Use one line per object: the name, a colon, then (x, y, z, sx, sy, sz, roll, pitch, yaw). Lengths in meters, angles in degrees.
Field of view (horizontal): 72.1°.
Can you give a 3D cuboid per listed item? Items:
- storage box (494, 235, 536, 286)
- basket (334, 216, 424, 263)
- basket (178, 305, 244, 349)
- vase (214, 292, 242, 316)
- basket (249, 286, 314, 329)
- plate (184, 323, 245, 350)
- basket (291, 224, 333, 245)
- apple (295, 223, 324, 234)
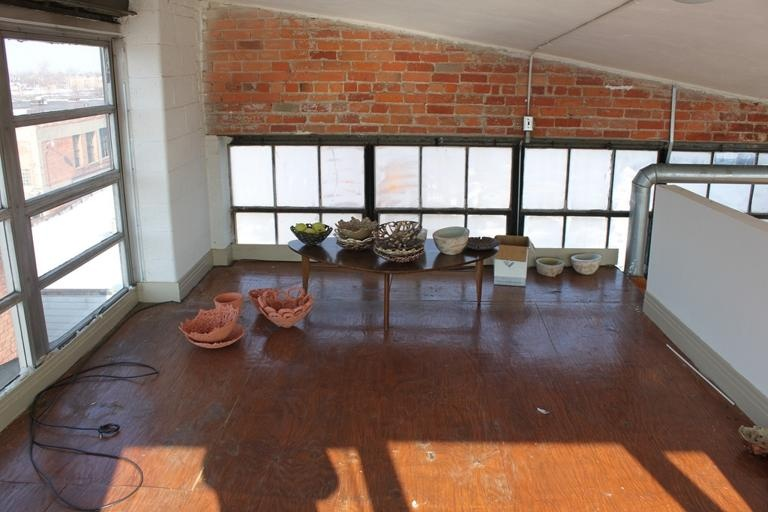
storage box: (1.453, 0.060, 6.004, 0.381, 0.546, 0.293, 4, 20, 10)
basket: (-0.009, -0.165, 5.132, 0.671, 0.211, 0.530, 20, 23, 38)
basket: (-1.580, 0.652, 4.858, 0.523, 0.187, 0.425, 7, 32, 18)
vase: (-1.558, 0.475, 5.369, 0.289, 0.165, 0.258, 0, 3, -26)
basket: (-1.035, 0.481, 5.130, 0.570, 0.220, 0.429, 5, 11, 21)
plate: (-1.539, 0.741, 4.887, 0.515, 0.170, 0.310, -4, 17, -16)
basket: (-0.731, -0.229, 5.457, 0.318, 0.132, 0.282, 1, 5, -1)
apple: (-0.762, -0.280, 5.408, 0.182, 0.068, 0.182, 1, 2, 38)
